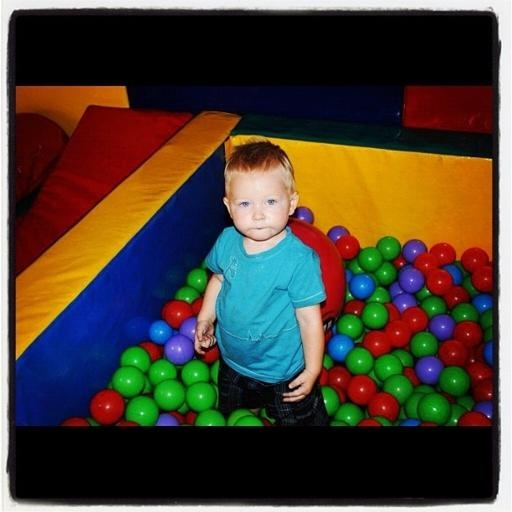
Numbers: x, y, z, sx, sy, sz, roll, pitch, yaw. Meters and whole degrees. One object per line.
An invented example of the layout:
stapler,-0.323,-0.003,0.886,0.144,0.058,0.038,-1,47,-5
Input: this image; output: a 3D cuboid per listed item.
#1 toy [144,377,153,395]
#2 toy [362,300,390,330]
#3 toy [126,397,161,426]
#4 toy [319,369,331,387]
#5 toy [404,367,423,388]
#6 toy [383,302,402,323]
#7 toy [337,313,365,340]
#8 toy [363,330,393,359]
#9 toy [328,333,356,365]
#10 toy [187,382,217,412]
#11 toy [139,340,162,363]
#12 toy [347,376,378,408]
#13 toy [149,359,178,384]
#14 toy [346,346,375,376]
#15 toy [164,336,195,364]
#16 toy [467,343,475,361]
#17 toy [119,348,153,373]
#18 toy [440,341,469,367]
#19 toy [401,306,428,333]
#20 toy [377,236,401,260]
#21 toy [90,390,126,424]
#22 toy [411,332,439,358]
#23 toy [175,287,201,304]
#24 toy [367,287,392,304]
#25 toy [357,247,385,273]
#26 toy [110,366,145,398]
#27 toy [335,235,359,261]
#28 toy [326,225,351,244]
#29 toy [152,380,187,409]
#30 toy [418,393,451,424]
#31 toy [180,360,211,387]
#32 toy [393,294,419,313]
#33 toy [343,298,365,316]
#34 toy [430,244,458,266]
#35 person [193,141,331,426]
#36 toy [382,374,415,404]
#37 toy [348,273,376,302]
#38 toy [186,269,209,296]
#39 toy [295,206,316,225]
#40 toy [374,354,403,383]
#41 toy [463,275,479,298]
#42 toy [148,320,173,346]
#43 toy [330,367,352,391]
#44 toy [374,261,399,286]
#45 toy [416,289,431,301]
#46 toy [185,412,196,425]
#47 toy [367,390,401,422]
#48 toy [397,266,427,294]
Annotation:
toy,-0.434,0.522,2.103,0.051,0.073,0.056,-3,-9,-8
toy,0.523,0.261,2.301,0.102,0.142,0.108,-8,14,-5
toy,-0.416,0.572,1.923,0.089,0.120,0.099,2,-30,-12
toy,0.274,0.486,2.092,0.053,0.061,0.070,-17,-29,-2
toy,0.643,0.496,2.129,0.051,0.072,0.058,-8,34,11
toy,0.612,0.254,2.360,0.051,0.080,0.060,-20,-19,-4
toy,0.408,0.303,2.272,0.094,0.128,0.104,-4,33,-9
toy,0.508,0.361,2.192,0.091,0.130,0.100,-12,-1,3
toy,0.353,0.391,2.216,0.097,0.135,0.105,0,-11,-6
toy,-0.208,0.544,2.041,0.092,0.124,0.100,3,-27,-11
toy,-0.435,0.394,2.199,0.069,0.094,0.075,-22,25,1
toy,0.409,0.521,2.043,0.097,0.137,0.106,1,-2,-1
toy,-0.381,0.463,2.157,0.089,0.120,0.091,2,9,-35
toy,0.420,0.428,2.133,0.091,0.122,0.104,-7,45,1
toy,-0.323,0.389,2.216,0.102,0.141,0.106,-6,17,-16
toy,0.895,0.404,2.179,0.011,0.051,0.034,28,-30,-20
toy,-0.482,0.400,2.127,0.090,0.123,0.099,-9,28,1
toy,0.819,0.398,2.152,0.133,0.093,0.087,2,12,-1
toy,0.699,0.278,2.351,0.093,0.126,0.097,-1,-23,-32
toy,0.655,-0.044,2.578,0.099,0.133,0.108,-12,34,0
toy,-0.535,0.555,1.954,0.105,0.121,0.138,1,41,-2
toy,0.707,0.377,2.212,0.113,0.102,0.088,11,15,35
toy,-0.311,0.176,2.392,0.073,0.088,0.093,5,14,17
toy,0.585,0.185,2.459,0.066,0.091,0.075,-7,46,-3
toy,0.553,0.010,2.535,0.102,0.137,0.111,-11,35,0
toy,-0.482,0.475,1.993,0.105,0.140,0.115,0,-33,-9
toy,0.456,-0.048,2.633,0.103,0.141,0.111,-9,21,-9
toy,0.406,-0.133,2.613,0.081,0.098,0.104,-9,21,12
toy,-0.331,0.531,2.001,0.095,0.131,0.108,-3,-24,-7
toy,0.645,0.549,1.887,0.102,0.086,0.091,-2,13,-20
toy,-0.244,0.469,2.106,0.087,0.121,0.094,-8,19,-9
toy,0.699,0.213,2.415,0.077,0.090,0.100,-6,34,9
toy,0.450,0.234,2.395,0.067,0.079,0.087,14,25,7
toy,0.901,-0.014,2.509,0.093,0.107,0.118,-5,-24,4
person,0.013,0.136,1.692,0.448,0.997,0.289,4,12,9
toy,0.550,0.506,2.013,0.092,0.126,0.100,-16,-6,15
toy,0.491,0.134,2.461,0.100,0.139,0.108,-3,11,-5
toy,-0.270,0.111,2.476,0.094,0.111,0.126,-2,-30,-4
toy,0.224,-0.220,2.608,0.094,0.111,0.112,-3,14,-32
toy,0.532,0.445,2.156,0.095,0.133,0.101,16,16,28
toy,1.004,0.142,2.458,0.067,0.092,0.075,-8,-25,14
toy,-0.409,0.323,2.286,0.084,0.117,0.093,2,20,3
toy,0.342,0.498,2.142,0.071,0.098,0.079,-3,36,-18
toy,0.645,0.087,2.631,0.097,0.129,0.098,9,4,42
toy,0.792,0.179,2.480,0.049,0.067,0.053,18,5,17
toy,-0.252,0.633,2.046,0.013,0.056,0.052,19,-33,-41
toy,0.476,0.551,1.959,0.092,0.123,0.094,14,20,40
toy,0.735,0.114,2.500,0.089,0.123,0.131,-5,14,-31
